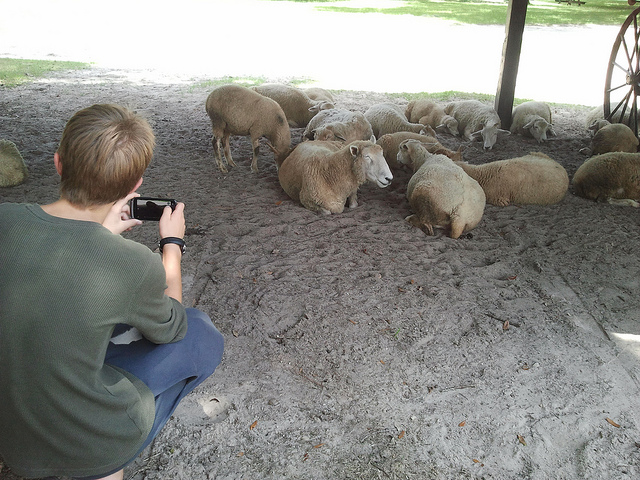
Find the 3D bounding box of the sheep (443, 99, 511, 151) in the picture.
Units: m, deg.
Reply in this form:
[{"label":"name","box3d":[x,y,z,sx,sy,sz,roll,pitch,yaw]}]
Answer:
[{"label":"sheep","box3d":[3.550,-2.689,10.625,0.793,0.815,1.985,-3,32,-15]}]

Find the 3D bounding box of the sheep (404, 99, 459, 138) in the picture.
[{"label":"sheep","box3d":[2.636,-2.951,11.154,0.606,0.728,1.400,-30,52,-35]}]

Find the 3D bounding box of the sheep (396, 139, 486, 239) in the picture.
[{"label":"sheep","box3d":[1.510,-0.691,6.548,0.939,0.852,1.626,-8,39,-17]}]

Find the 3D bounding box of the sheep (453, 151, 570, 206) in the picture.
[{"label":"sheep","box3d":[2.860,-0.957,6.978,1.551,0.676,0.723,2,53,7]}]

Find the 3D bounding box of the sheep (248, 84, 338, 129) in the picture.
[{"label":"sheep","box3d":[-0.659,-2.684,9.695,1.806,0.967,0.597,4,34,-10]}]

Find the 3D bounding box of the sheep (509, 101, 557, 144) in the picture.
[{"label":"sheep","box3d":[4.750,-2.680,10.297,0.818,0.639,1.287,-8,28,11]}]

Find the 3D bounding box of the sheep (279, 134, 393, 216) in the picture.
[{"label":"sheep","box3d":[0.189,-0.951,6.568,1.750,0.869,0.912,24,42,39]}]
